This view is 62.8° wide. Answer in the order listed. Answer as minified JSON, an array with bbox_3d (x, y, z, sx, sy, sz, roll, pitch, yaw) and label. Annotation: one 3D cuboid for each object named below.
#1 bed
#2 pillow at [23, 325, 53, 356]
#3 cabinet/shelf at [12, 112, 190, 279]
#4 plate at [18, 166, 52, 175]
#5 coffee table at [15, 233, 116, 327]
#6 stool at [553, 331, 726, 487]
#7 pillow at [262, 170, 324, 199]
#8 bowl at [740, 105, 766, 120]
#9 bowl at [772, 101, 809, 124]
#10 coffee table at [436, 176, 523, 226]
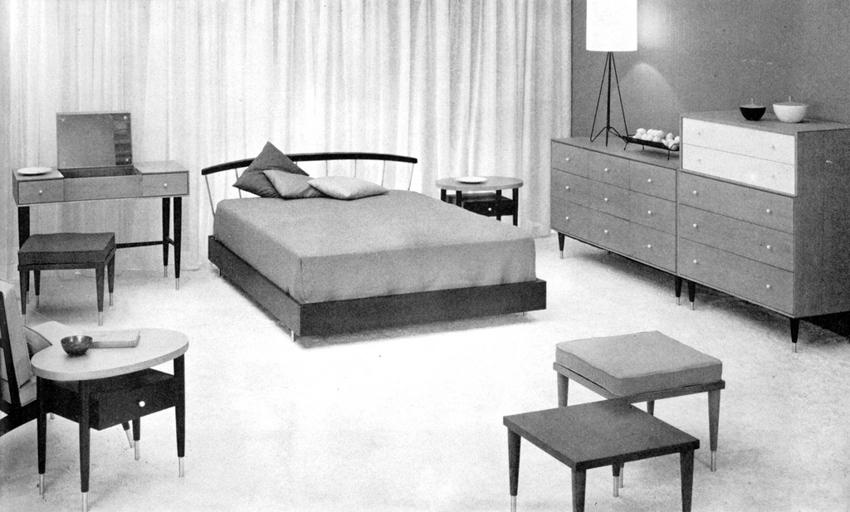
[{"bbox_3d":[-0.627,-0.282,5.834,1.618,0.723,1.934,-5,12,-26],"label":"bed"},{"bbox_3d":[-2.093,0.458,3.804,0.160,0.071,0.149,24,19,21],"label":"pillow"},{"bbox_3d":[-3.006,-0.601,6.356,1.573,1.461,0.579,-5,11,-28],"label":"cabinet/shelf"},{"bbox_3d":[-3.416,-0.733,6.090,0.262,0.059,0.177,-10,14,-27],"label":"plate"},{"bbox_3d":[-2.963,0.241,5.830,0.821,0.674,0.800,-1,17,-8],"label":"coffee table"},{"bbox_3d":[1.202,0.699,3.925,0.823,0.655,0.818,-7,17,-21],"label":"stool"},{"bbox_3d":[-1.232,-0.653,6.584,0.360,0.086,0.370,8,29,-35],"label":"pillow"},{"bbox_3d":[2.563,-1.115,5.451,0.179,0.092,0.173,0,3,0],"label":"bowl"},{"bbox_3d":[2.795,-1.079,5.289,0.236,0.121,0.220,0,8,0],"label":"bowl"},{"bbox_3d":[0.560,-0.625,7.081,0.649,0.387,0.629,-4,13,-19],"label":"coffee table"}]
